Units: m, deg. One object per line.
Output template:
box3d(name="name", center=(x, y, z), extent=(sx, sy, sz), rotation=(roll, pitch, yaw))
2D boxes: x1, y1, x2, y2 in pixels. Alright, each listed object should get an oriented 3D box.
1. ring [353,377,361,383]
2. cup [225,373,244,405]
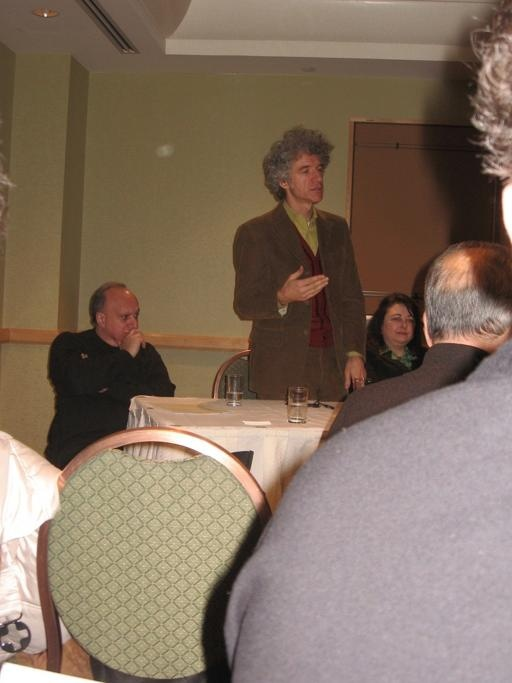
box3d(name="ring", center=(0.373, 0.142, 2.338), extent=(0.018, 0.018, 0.022), rotation=(-2, 4, 4))
box3d(name="cup", center=(-0.078, 0.164, 2.185), extent=(0.095, 0.134, 0.091), rotation=(0, -2, 0))
